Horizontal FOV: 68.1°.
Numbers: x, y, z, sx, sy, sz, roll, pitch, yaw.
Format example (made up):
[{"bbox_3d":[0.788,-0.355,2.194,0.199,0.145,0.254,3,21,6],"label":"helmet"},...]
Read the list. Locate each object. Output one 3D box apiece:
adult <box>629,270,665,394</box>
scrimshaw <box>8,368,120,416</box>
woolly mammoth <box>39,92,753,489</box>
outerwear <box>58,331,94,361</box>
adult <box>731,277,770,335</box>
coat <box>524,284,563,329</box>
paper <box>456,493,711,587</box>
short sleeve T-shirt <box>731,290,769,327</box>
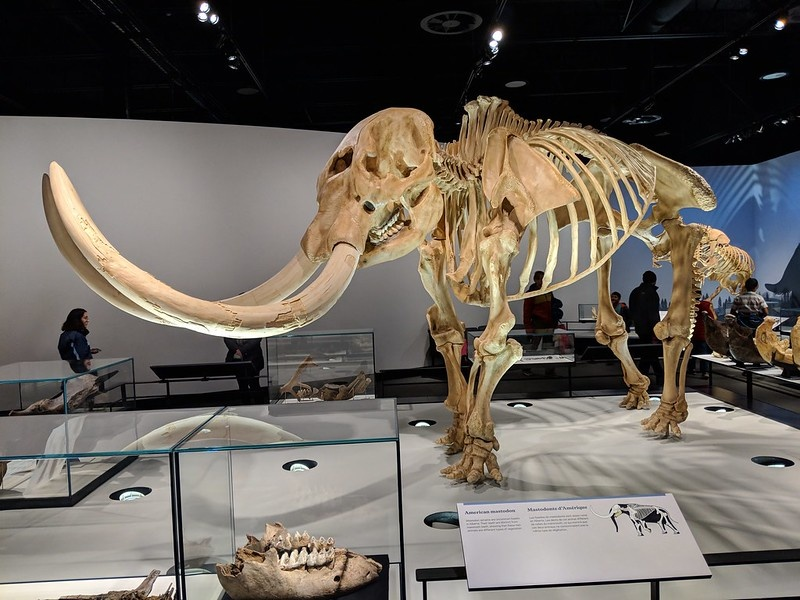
[{"bbox_3d":[3.167,0.454,7.600,0.386,1.564,0.428,-7,13,-44],"label":"adult"},{"bbox_3d":[-2.626,0.757,4.820,0.399,0.307,0.861,-2,4,18],"label":"scrimshaw"},{"bbox_3d":[0.582,-0.100,5.398,5.764,3.366,1.757,-4,3,-9],"label":"woolly mammoth"},{"bbox_3d":[-3.677,0.527,6.686,0.323,0.322,0.196,8,18,29],"label":"outerwear"},{"bbox_3d":[4.576,0.030,7.739,0.394,0.671,0.452,-23,21,-41],"label":"adult"},{"bbox_3d":[1.812,0.107,7.495,0.579,0.673,0.294,-1,-3,-17],"label":"coat"},{"bbox_3d":[0.987,1.304,3.205,1.297,0.418,0.245,-3,4,-4],"label":"paper"},{"bbox_3d":[4.469,0.126,7.562,0.405,0.477,0.279,-1,-20,42],"label":"short sleeve T-shirt"}]
